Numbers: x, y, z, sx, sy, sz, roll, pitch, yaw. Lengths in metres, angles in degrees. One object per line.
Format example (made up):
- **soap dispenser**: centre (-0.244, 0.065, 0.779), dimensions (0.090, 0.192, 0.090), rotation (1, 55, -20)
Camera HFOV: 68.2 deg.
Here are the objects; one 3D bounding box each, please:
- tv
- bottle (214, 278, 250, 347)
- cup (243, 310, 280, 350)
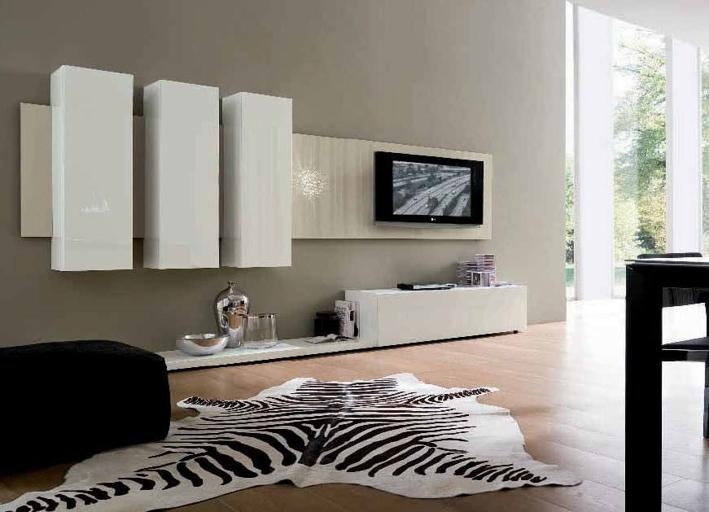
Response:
- **tv**: centre (0.801, -0.687, 5.487), dimensions (1.333, 0.735, 0.100), rotation (-1, 5, -24)
- **bottle**: centre (-1.011, 0.491, 4.309), dimensions (0.262, 0.544, 0.089), rotation (-1, 0, -16)
- **cup**: centre (-0.830, 0.639, 4.435), dimensions (0.264, 0.319, 0.335), rotation (2, -3, 45)
